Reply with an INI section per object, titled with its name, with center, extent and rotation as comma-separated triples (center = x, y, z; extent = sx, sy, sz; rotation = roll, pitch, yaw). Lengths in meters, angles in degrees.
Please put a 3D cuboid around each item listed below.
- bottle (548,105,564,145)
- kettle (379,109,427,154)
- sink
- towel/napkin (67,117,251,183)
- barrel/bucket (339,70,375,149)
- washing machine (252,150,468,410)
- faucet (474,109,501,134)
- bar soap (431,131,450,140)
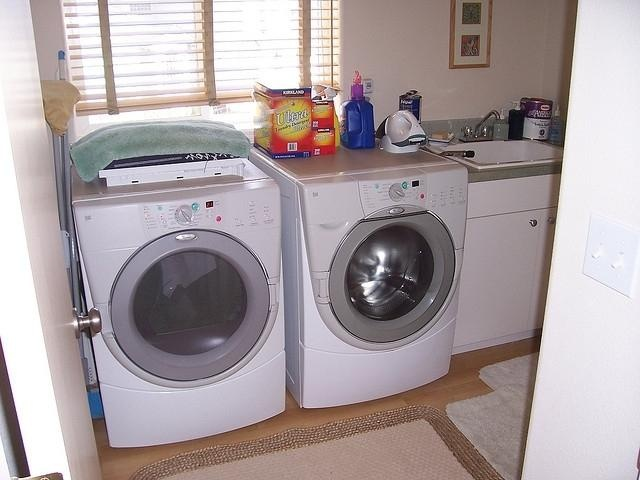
[bottle]
center = 1.414, -0.682, 2.875
extent = 0.082, 0.182, 0.355
rotation = 6, 22, 24
[kettle]
center = 0.401, -0.529, 2.358
extent = 0.217, 0.190, 0.163
rotation = 1, 20, 11
[sink]
center = 0.977, -0.458, 2.590
extent = 0.332, 0.084, 0.206
rotation = -10, 27, -18
[towel/napkin]
center = -0.645, -0.459, 1.918
extent = 0.702, 0.281, 0.577
rotation = -7, 26, -22
[barrel/bucket]
center = 0.184, -0.640, 2.393
extent = 0.168, 0.359, 0.125
rotation = -2, 19, 2
[washing machine]
center = 0.178, 0.089, 2.464
extent = 0.844, 1.218, 0.912
rotation = -5, 22, -20
[faucet]
center = 0.999, -0.715, 2.927
extent = 0.131, 0.131, 0.263
rotation = 11, 25, 36
[bar soap]
center = 0.692, -0.601, 2.776
extent = 0.068, 0.017, 0.064
rotation = 10, 27, 27
